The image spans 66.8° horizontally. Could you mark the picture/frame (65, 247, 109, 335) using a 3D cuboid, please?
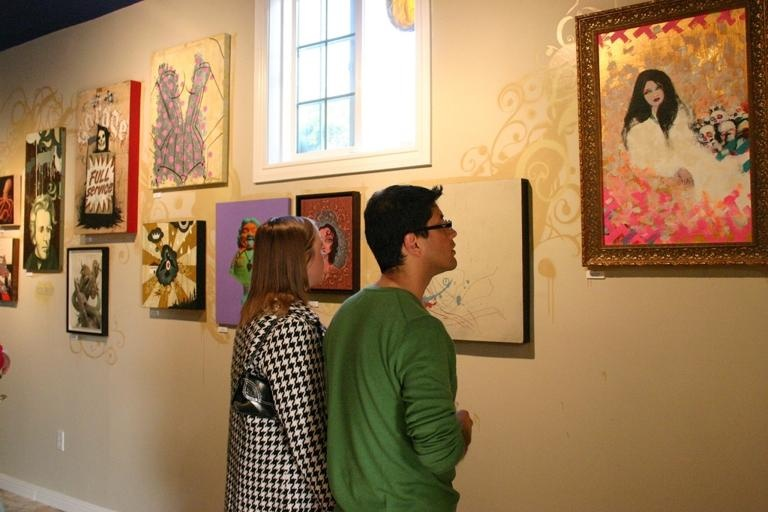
[{"bbox_3d":[-2.347,0.268,4.618,0.619,1.016,0.089,0,0,31],"label":"picture/frame"}]

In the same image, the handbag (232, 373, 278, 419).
[{"bbox_3d":[-0.574,0.615,2.637,0.190,0.198,0.151,4,0,-1],"label":"handbag"}]
